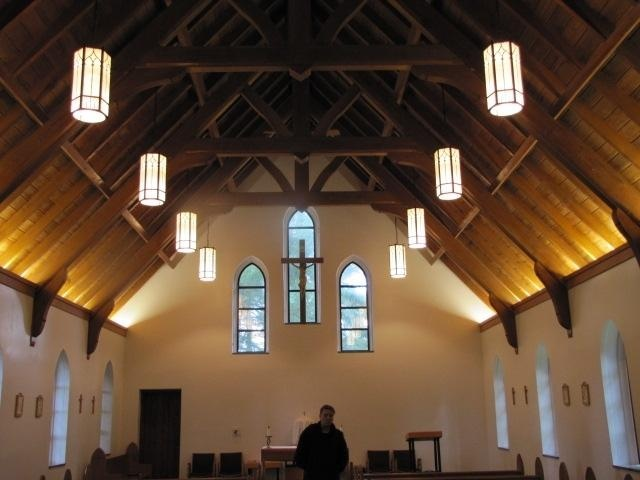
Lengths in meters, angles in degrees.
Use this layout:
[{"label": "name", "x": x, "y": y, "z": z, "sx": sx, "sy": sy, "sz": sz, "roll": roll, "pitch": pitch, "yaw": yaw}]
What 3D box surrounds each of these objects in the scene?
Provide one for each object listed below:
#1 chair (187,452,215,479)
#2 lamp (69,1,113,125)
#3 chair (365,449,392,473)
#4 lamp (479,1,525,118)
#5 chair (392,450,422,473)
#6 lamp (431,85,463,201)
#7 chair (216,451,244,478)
[{"label": "chair", "x": -2.435, "y": 4.680, "z": 15.168, "sx": 0.338, "sy": 0.508, "sz": 0.493, "roll": 0, "pitch": -12, "yaw": -3}, {"label": "lamp", "x": -2.828, "y": -1.943, "z": 9.059, "sx": 0.471, "sy": 0.929, "sz": 0.324, "roll": 9, "pitch": -22, "yaw": -24}, {"label": "chair", "x": 1.215, "y": 4.627, "z": 15.316, "sx": 0.505, "sy": 0.478, "sz": 0.342, "roll": -2, "pitch": -21, "yaw": 3}, {"label": "lamp", "x": 2.301, "y": -2.325, "z": 9.245, "sx": 0.470, "sy": 2.321, "sz": 0.557, "roll": -1, "pitch": -25, "yaw": 9}, {"label": "chair", "x": 1.742, "y": 4.563, "z": 15.061, "sx": 0.568, "sy": 0.669, "sz": 0.358, "roll": 1, "pitch": -31, "yaw": -2}, {"label": "lamp", "x": 1.894, "y": -1.386, "z": 11.084, "sx": 0.387, "sy": 1.928, "sz": 1.021, "roll": -5, "pitch": -21, "yaw": 11}, {"label": "chair", "x": -1.869, "y": 4.664, "z": 15.251, "sx": 0.397, "sy": 0.477, "sz": 0.391, "roll": 3, "pitch": -25, "yaw": -5}]
